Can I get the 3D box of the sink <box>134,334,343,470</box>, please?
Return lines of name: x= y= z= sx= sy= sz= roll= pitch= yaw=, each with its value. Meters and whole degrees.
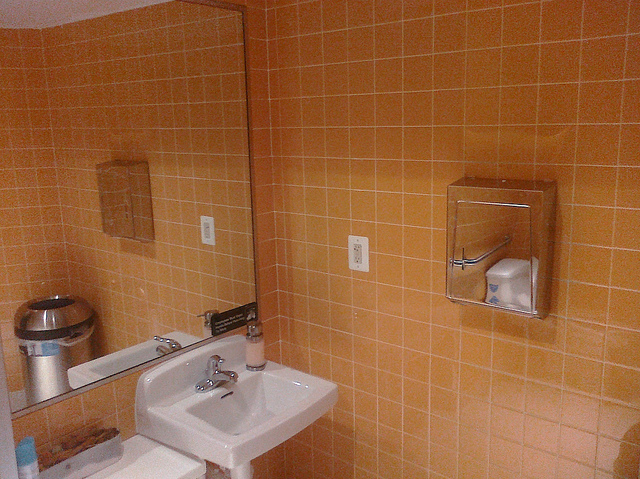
sink: x=-0.355 y=0.623 z=1.996 sx=0.614 sy=0.297 sz=0.669 roll=10 pitch=18 yaw=34

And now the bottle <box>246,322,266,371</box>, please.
bottle: x=-0.282 y=0.456 z=2.194 sx=0.089 sy=0.186 sz=0.091 roll=-4 pitch=1 yaw=0
